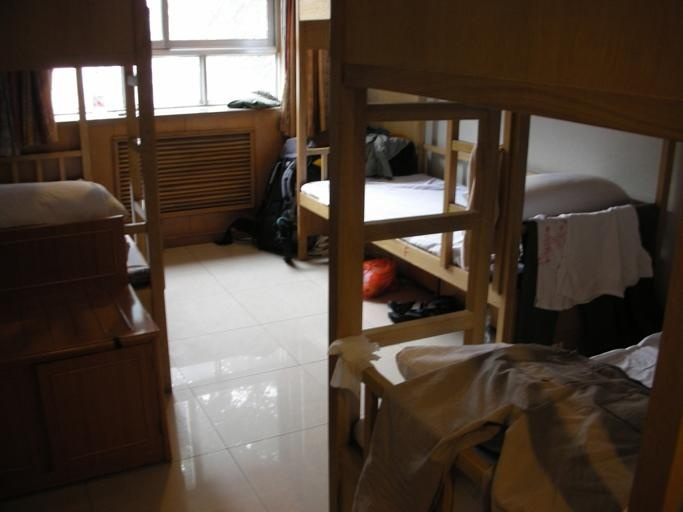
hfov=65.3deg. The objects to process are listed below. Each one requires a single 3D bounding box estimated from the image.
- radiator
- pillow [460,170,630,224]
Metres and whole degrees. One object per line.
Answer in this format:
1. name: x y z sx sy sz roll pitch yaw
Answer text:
1. radiator: -1.239 -0.666 4.158 0.849 0.633 0.117 -9 19 -25
2. pillow: 1.242 -0.336 2.892 0.420 0.116 0.346 -11 31 -12
